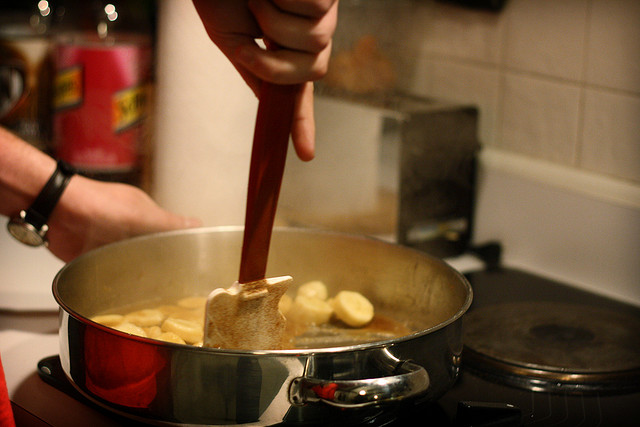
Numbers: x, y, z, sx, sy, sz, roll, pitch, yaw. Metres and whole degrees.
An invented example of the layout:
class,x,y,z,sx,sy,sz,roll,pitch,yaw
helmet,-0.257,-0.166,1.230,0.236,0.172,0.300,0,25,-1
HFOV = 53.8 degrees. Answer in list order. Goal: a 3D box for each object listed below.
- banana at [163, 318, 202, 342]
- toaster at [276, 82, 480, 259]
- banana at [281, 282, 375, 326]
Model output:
class,x,y,z,sx,sy,sz,roll,pitch,yaw
banana,-0.156,0.133,0.721,0.030,0.012,0.030,18,7,15
toaster,0.054,-0.085,0.857,0.143,0.189,0.264,-17,26,-40
banana,0.008,0.105,0.771,0.077,0.019,0.055,4,19,11
